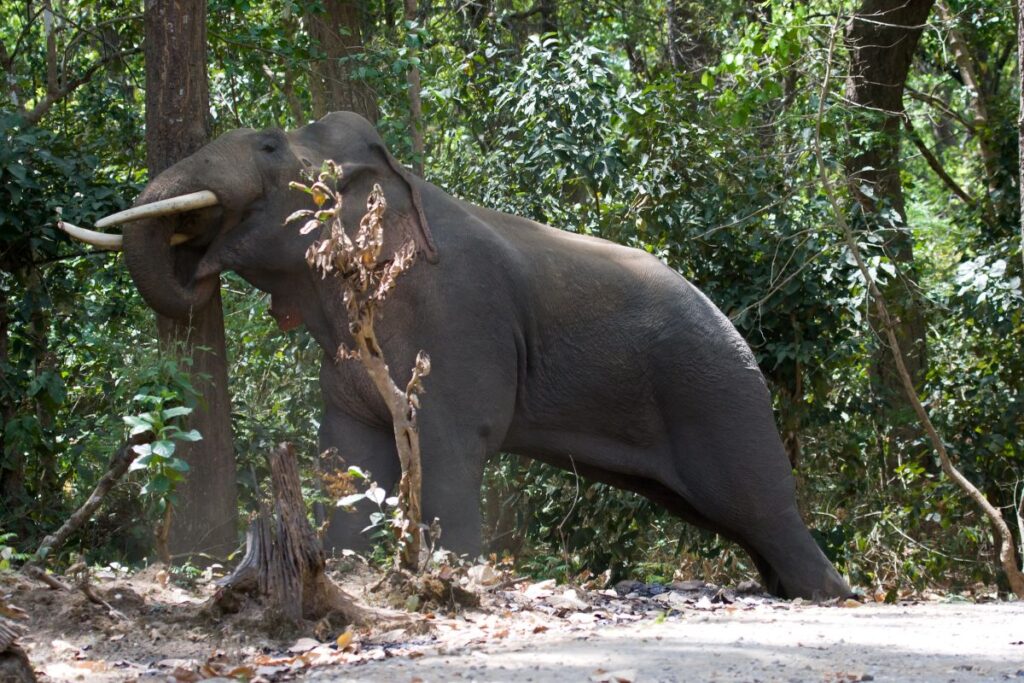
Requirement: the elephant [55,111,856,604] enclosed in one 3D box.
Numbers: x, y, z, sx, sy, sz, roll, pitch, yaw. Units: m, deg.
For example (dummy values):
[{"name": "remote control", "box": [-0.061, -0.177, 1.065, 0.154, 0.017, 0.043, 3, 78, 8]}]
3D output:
[{"name": "elephant", "box": [-0.076, 0.259, 8.898, 6.763, 3.356, 1.449, 10, -12, -12]}]
